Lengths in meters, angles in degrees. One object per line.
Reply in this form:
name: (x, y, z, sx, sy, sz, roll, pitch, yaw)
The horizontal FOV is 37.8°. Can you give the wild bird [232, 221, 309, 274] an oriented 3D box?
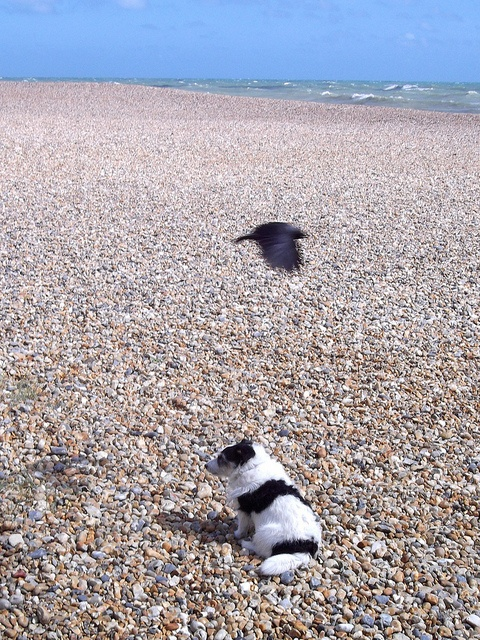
wild bird: (0.358, -0.727, 6.640, 0.571, 0.171, 0.568, -8, 43, -24)
